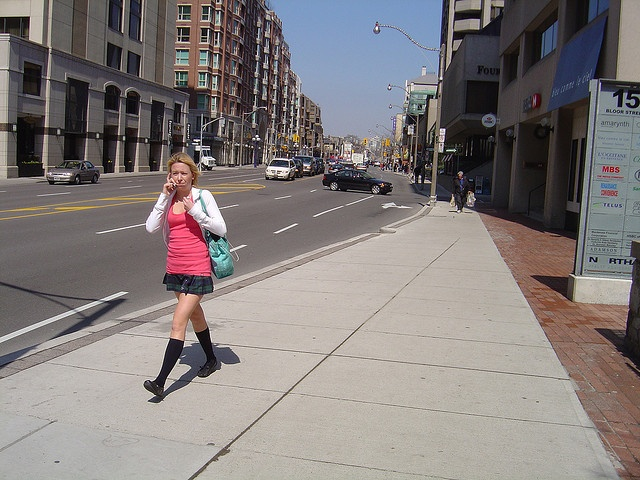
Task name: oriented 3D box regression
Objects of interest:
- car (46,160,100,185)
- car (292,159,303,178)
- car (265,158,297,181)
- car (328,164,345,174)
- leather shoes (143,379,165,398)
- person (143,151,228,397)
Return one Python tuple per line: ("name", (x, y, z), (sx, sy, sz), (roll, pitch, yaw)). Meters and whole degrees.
("car", (-18.108, -4.965, 36.207), (1.678, 1.684, 3.721), (2, 8, 9))
("car", (-2.476, -7.607, 53.151), (1.000, 0.981, 1.764), (2, 22, 10))
("car", (-3.773, -6.881, 48.269), (2.251, 2.026, 3.390), (4, 9, 25))
("car", (1.990, -9.416, 65.261), (2.075, 1.849, 5.011), (-1, 7, 6))
("leather shoes", (-1.695, 1.502, 5.049), (0.176, 0.214, 0.186), (0, 7, -8))
("person", (-1.509, 0.305, 5.477), (0.879, 2.504, 0.955), (-2, 7, -26))
